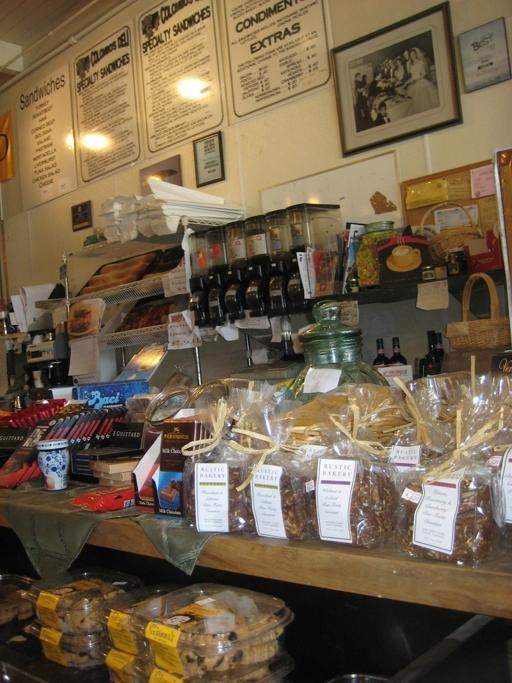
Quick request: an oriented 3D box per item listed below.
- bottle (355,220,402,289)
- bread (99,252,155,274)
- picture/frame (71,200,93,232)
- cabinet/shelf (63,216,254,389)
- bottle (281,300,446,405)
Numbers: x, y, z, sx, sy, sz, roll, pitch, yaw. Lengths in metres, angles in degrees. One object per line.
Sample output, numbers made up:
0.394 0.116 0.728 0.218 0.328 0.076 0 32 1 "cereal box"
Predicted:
0.494 -0.357 2.189 0.181 0.267 0.230 -7 5 10 "bottle"
-0.883 -0.552 3.736 0.274 0.068 0.266 -13 24 36 "bread"
-1.449 -1.046 4.471 0.043 0.273 0.309 6 -5 -42 "picture/frame"
-0.574 -0.215 3.217 1.095 0.902 0.352 -16 -39 28 "cabinet/shelf"
0.240 0.001 1.243 0.255 0.323 0.233 -6 -4 0 "bottle"
